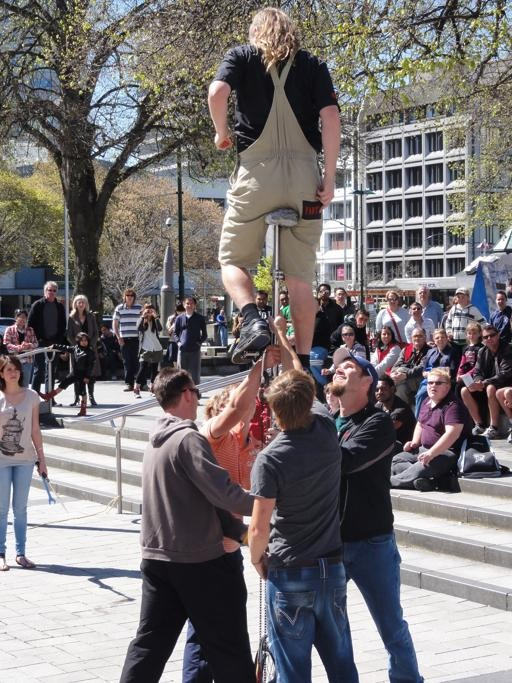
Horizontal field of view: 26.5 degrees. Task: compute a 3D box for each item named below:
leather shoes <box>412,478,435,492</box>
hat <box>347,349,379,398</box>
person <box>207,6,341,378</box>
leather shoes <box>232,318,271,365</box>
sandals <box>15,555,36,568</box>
[{"bbox_3d":[1.678,1.414,10.881,0.253,0.173,0.097,-1,13,-17],"label":"leather shoes"},{"bbox_3d":[0.606,0.201,6.167,0.153,0.264,0.359,-2,3,5],"label":"hat"},{"bbox_3d":[0.112,-0.802,5.672,0.673,1.918,0.577,-2,3,2],"label":"person"},{"bbox_3d":[-0.035,0.024,5.474,0.117,0.163,0.315,10,-42,-21],"label":"leather shoes"},{"bbox_3d":[-1.921,1.829,9.053,0.138,0.054,0.082,4,4,36],"label":"sandals"}]
